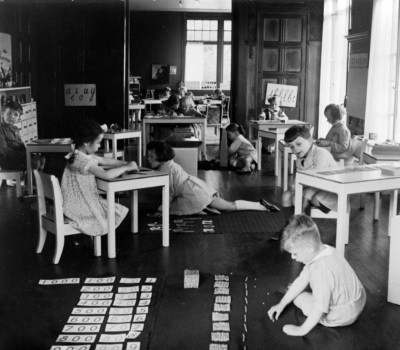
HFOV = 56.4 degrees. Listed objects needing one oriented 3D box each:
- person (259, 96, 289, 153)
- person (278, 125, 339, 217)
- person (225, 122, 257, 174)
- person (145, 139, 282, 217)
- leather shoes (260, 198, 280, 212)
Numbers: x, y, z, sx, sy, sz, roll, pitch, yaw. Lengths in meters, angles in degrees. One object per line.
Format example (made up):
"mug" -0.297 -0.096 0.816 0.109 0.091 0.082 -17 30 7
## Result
"person" 1.683 -1.198 8.654 0.562 1.256 0.361 2 -12 14
"person" 1.152 -0.092 3.896 0.530 0.875 0.485 -2 0 -8
"person" 0.834 -0.596 7.523 0.612 0.930 0.503 20 29 38
"person" 0.104 0.031 4.713 1.563 1.064 0.489 -1 -6 5
"leather shoes" 0.892 0.392 4.737 0.215 0.098 0.135 18 15 8
